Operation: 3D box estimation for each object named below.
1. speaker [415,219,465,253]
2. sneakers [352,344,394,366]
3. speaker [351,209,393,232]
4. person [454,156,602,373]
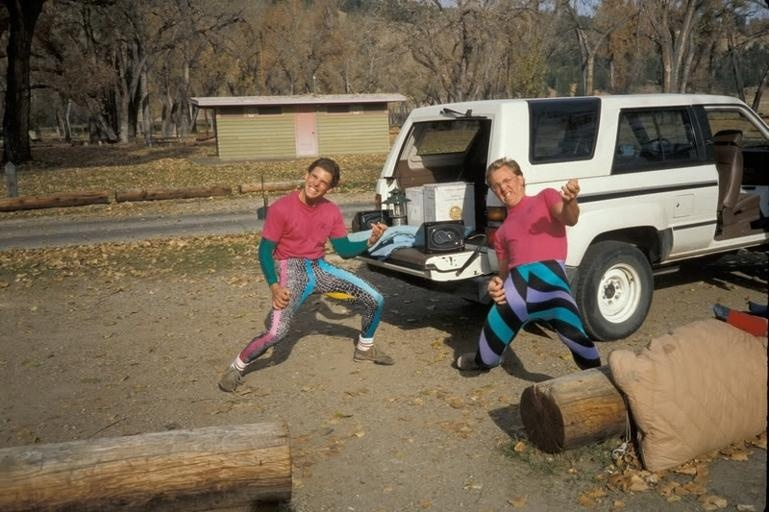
[{"bbox_3d":[0.725,-0.197,6.628,0.528,0.357,0.492,-3,-7,-2],"label":"speaker"},{"bbox_3d":[-0.120,1.179,6.530,0.577,0.243,0.191,-4,5,-12],"label":"sneakers"},{"bbox_3d":[-0.200,-0.582,7.731,0.466,0.325,0.324,-5,6,-24],"label":"speaker"},{"bbox_3d":[1.456,0.170,5.425,1.121,2.147,0.767,4,15,20],"label":"person"}]
